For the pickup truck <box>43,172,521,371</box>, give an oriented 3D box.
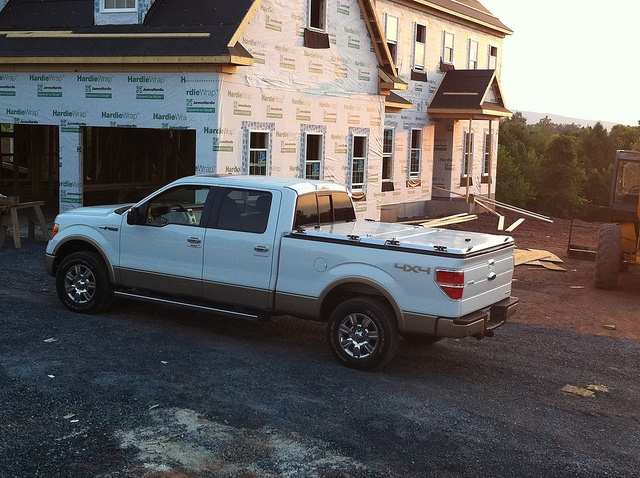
[{"bbox_3d":[-0.809,0.217,7.882,7.742,2.506,2.512,6,8,21],"label":"pickup truck"}]
